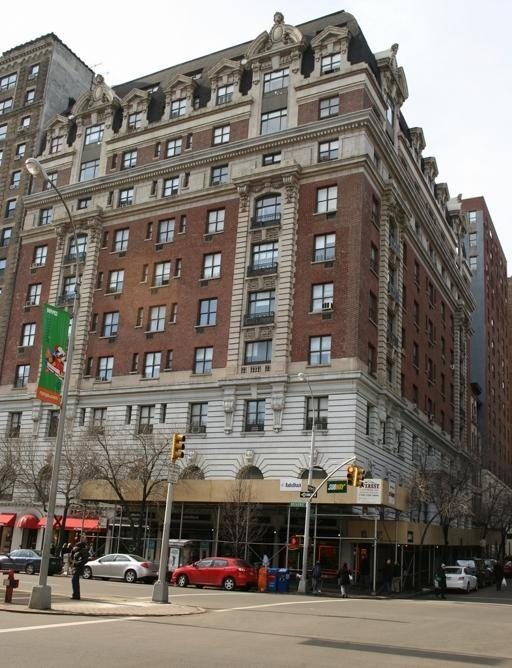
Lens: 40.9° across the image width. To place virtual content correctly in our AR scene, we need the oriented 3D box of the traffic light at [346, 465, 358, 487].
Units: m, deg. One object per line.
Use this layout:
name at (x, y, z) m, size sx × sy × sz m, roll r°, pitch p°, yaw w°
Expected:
traffic light at (4.240, 6.154, 30.045) m, size 0.478 × 0.839 × 0.632 m, roll 0°, pitch -19°, yaw 7°

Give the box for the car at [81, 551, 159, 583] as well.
car at (-6.469, 11.290, 33.161) m, size 3.872 × 1.259 × 1.285 m, roll -9°, pitch -22°, yaw 30°

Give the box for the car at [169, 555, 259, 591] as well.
car at (-1.828, 11.107, 31.878) m, size 3.463 × 1.254 × 1.779 m, roll -2°, pitch -16°, yaw 26°

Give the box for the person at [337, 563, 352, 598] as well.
person at (4.152, 11.540, 32.135) m, size 0.489 × 1.468 × 1.130 m, roll 0°, pitch -19°, yaw 8°

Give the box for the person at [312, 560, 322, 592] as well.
person at (2.955, 11.874, 33.381) m, size 0.371 × 1.371 × 0.814 m, roll 0°, pitch -19°, yaw 8°
